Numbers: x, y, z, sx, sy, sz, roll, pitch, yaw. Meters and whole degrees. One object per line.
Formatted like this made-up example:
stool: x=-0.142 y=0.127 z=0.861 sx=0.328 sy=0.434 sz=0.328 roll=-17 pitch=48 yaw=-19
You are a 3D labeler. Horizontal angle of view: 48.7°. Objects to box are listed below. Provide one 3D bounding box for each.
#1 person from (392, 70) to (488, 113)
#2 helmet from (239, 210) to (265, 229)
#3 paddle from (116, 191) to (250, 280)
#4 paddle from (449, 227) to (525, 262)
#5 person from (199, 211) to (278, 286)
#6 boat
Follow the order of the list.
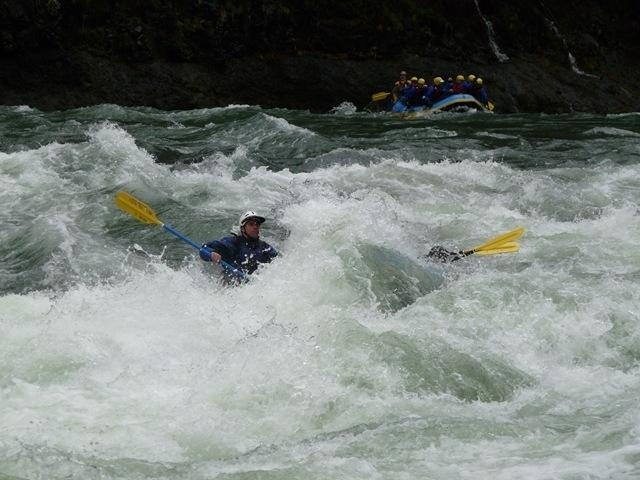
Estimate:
person: x=2.897 y=-3.739 z=18.580 sx=1.363 sy=0.620 sz=1.780 roll=-6 pitch=5 yaw=-33
helmet: x=-0.994 y=-0.300 z=9.743 sx=0.324 sy=0.142 sz=0.225 roll=-24 pitch=-22 yaw=37
paddle: x=-1.978 y=-0.025 z=10.002 sx=2.140 sy=0.130 sz=0.232 roll=31 pitch=31 yaw=-8
paddle: x=2.381 y=0.074 z=9.686 sx=1.235 sy=0.334 sz=0.115 roll=-13 pitch=-4 yaw=4
person: x=-1.098 y=0.056 z=9.595 sx=1.040 sy=0.779 sz=0.570 roll=-4 pitch=22 yaw=-9
boat: x=2.879 y=-3.705 z=18.897 sx=3.294 sy=0.650 sz=2.123 roll=4 pitch=20 yaw=12
